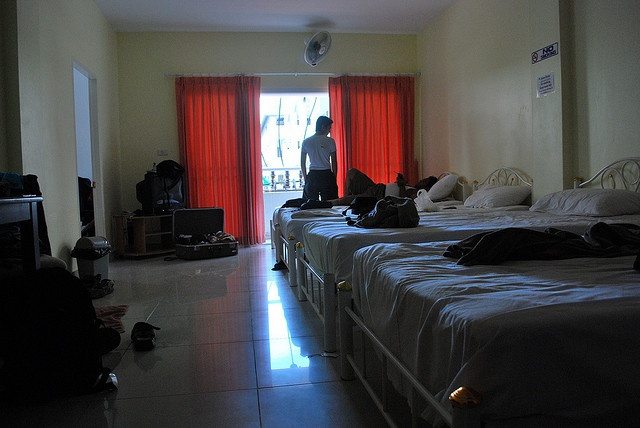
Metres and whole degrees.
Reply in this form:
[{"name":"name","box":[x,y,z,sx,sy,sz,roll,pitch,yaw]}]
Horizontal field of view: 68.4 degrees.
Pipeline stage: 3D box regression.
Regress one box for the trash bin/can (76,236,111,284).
[{"name":"trash bin/can","box":[-2.264,0.453,4.610,0.326,0.419,0.324,-4,10,-15]}]

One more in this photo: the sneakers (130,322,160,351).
[{"name":"sneakers","box":[-1.230,0.854,3.303,0.135,0.174,0.191,-2,9,-19]}]

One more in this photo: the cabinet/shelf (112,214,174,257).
[{"name":"cabinet/shelf","box":[-2.452,0.251,6.480,0.760,0.566,1.060,-6,11,-25]}]

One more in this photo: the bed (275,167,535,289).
[{"name":"bed","box":[0.711,0.157,3.741,1.559,0.890,1.575,-2,2,-6]}]

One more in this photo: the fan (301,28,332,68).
[{"name":"fan","box":[-0.021,-2.157,6.106,0.342,0.385,0.241,2,10,22]}]

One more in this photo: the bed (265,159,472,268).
[{"name":"bed","box":[0.226,-0.161,5.681,1.594,0.956,1.609,-10,8,-15]}]

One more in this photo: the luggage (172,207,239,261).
[{"name":"luggage","box":[-1.502,0.258,6.192,0.756,0.672,0.516,-2,1,-43]}]

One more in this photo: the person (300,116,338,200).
[{"name":"person","box":[-0.010,-0.481,6.433,0.562,1.630,0.403,-1,19,0]}]

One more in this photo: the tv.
[{"name":"tv","box":[-2.326,-0.381,6.596,0.637,0.844,0.771,-6,9,-44]}]
